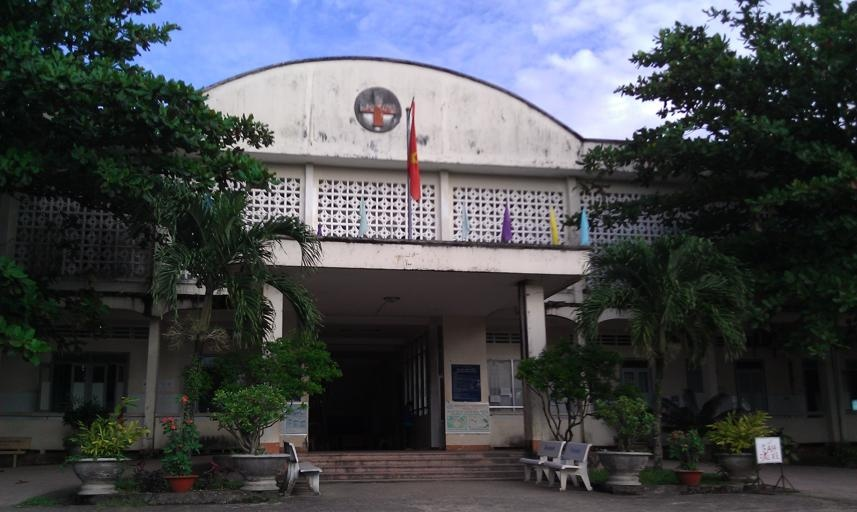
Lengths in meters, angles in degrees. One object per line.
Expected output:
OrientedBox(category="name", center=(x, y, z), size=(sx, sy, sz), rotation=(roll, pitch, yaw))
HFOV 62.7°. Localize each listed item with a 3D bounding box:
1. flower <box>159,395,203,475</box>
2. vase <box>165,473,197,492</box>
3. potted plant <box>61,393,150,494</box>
OrientedBox(category="flower", center=(-5.194, 3.750, 14.786), size=(0.727, 1.632, 1.269), rotation=(4, -13, -19))
OrientedBox(category="vase", center=(-5.006, 4.607, 14.292), size=(0.380, 0.170, 0.376), rotation=(4, -7, -32))
OrientedBox(category="potted plant", center=(-6.496, 4.016, 14.073), size=(1.153, 1.495, 0.523), rotation=(4, -13, -18))
